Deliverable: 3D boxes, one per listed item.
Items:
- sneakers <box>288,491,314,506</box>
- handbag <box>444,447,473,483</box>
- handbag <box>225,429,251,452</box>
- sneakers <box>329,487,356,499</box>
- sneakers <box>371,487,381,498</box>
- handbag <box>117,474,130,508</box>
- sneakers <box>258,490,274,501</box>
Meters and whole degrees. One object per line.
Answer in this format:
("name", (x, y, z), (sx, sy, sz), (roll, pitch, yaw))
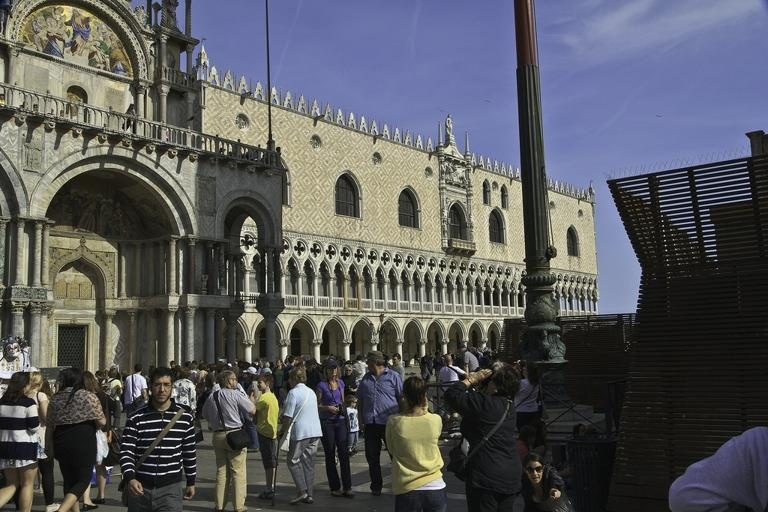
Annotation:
("sneakers", (-1.360, 4.016, 14.909), (0.419, 0.172, 0.154), (-14, -24, 14))
("handbag", (1.017, 2.792, 12.459), (0.320, 0.351, 0.391), (-9, -18, 9))
("handbag", (-2.349, 2.947, 14.420), (0.326, 0.284, 0.174), (2, -29, -35))
("sneakers", (-0.702, 4.022, 15.219), (0.421, 0.165, 0.130), (-20, -23, 38))
("sneakers", (-0.127, 3.989, 15.215), (0.180, 0.130, 0.237), (-2, -11, -2))
("handbag", (-3.587, 3.264, 12.504), (0.101, 0.336, 0.479), (1, -12, -15))
("sneakers", (-2.008, 4.062, 15.287), (0.324, 0.135, 0.117), (-7, -12, 23))
